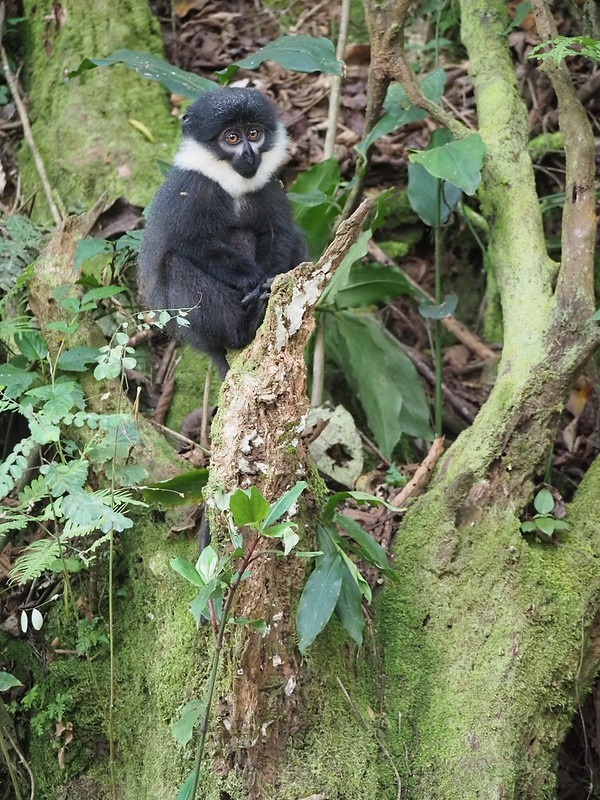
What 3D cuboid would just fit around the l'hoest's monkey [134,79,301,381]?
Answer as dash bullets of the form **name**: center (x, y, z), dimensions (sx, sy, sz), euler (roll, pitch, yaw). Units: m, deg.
- **l'hoest's monkey**: center (-0.291, -0.743, 3.750), dimensions (0.594, 1.234, 0.675), euler (10, 18, 35)
